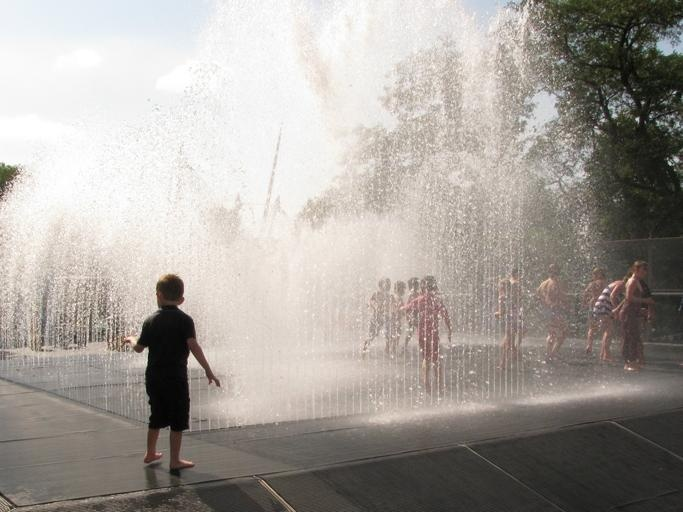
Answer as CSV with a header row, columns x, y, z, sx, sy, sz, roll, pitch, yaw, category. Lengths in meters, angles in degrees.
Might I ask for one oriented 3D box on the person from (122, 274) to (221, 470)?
x,y,z,sx,sy,sz,roll,pitch,yaw,category
-1.962,1.325,8.542,0.848,2.184,0.462,2,4,21,person
